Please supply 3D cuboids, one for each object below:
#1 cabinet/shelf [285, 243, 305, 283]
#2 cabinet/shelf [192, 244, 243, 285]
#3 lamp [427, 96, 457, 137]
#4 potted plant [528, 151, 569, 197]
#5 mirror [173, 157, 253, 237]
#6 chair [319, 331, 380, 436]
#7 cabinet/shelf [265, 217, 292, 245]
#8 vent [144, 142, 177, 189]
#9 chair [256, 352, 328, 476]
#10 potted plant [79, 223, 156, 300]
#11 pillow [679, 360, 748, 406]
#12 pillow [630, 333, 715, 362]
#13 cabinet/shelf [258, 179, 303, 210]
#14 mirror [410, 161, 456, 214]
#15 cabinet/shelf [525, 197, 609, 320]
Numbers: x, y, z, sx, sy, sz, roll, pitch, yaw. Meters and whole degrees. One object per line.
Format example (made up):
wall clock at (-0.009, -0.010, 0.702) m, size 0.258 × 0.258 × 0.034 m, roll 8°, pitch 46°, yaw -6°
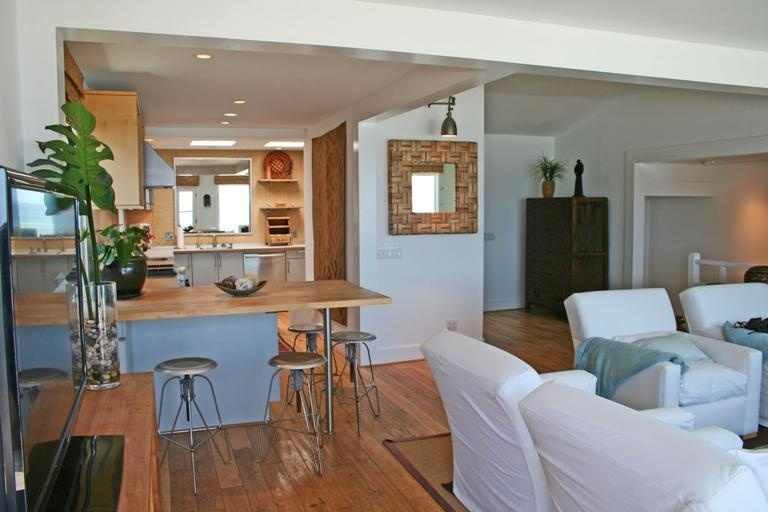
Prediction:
cabinet/shelf at (-1.495, 0.196, 8.883) m, size 0.394 × 0.688 × 0.483 m, roll -1°, pitch 10°, yaw -18°
cabinet/shelf at (-2.727, 0.301, 8.562) m, size 0.857 × 0.787 × 0.460 m, roll -2°, pitch 6°, yaw -15°
lamp at (0.616, -1.512, 5.591) m, size 0.328 × 0.459 × 0.525 m, roll 1°, pitch 8°, yaw 8°
potted plant at (2.526, -1.193, 8.105) m, size 0.404 × 0.499 × 0.473 m, roll 0°, pitch -4°, yaw 7°
mirror at (-2.963, -1.049, 8.848) m, size 1.397 × 1.451 × 0.121 m, roll -1°, pitch 2°, yaw -23°
chair at (-0.312, 1.041, 4.558) m, size 0.536 × 0.682 × 0.539 m, roll 2°, pitch 2°, yaw 13°
cabinet/shelf at (-1.845, -0.447, 9.102) m, size 0.462 × 0.463 × 0.407 m, roll -2°, pitch 8°, yaw -10°
vent at (-2.424, -0.973, 5.623) m, size 0.258 × 0.492 × 0.499 m, roll -3°, pitch 7°, yaw -16°
chair at (-0.677, 1.144, 3.964) m, size 0.608 × 0.704 × 0.594 m, roll 2°, pitch 0°, yaw 24°
potted plant at (-1.962, 0.053, 3.876) m, size 0.422 × 0.448 × 0.463 m, roll -3°, pitch 2°, yaw 3°
pillow at (2.315, 0.910, 3.700) m, size 0.357 × 0.130 × 0.359 m, roll -2°, pitch 1°, yaw -7°
pillow at (2.209, 0.690, 3.988) m, size 0.330 × 0.097 × 0.298 m, roll 2°, pitch 9°, yaw -8°
cabinet/shelf at (-1.831, -1.107, 9.189) m, size 0.776 × 0.529 × 0.212 m, roll -4°, pitch 9°, yaw -25°
mirror at (0.521, -0.784, 5.820) m, size 0.598 × 0.587 × 0.047 m, roll 0°, pitch 2°, yaw -13°
cabinet/shelf at (2.641, 0.005, 7.787) m, size 0.563 × 1.775 × 1.221 m, roll -7°, pitch 10°, yaw -40°
